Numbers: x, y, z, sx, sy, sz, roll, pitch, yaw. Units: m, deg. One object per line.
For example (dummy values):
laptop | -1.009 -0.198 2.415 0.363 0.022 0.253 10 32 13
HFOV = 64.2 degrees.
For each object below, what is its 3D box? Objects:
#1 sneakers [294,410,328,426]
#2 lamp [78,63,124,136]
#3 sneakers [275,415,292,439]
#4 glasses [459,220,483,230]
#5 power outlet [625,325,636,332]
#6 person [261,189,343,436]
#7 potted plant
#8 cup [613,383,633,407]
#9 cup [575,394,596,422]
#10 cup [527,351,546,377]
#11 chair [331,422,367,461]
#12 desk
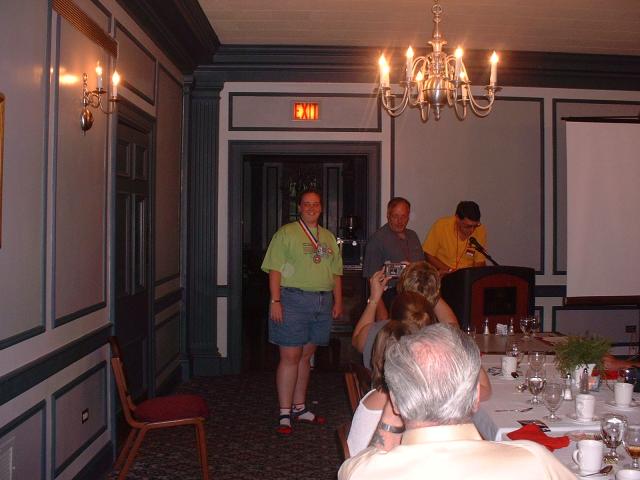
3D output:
sneakers | -0.077 1.563 4.520 0.292 0.145 0.120 1 0 0
lamp | -1.570 -1.018 3.638 0.247 0.536 0.564 0 2 -23
sneakers | -0.303 1.577 4.410 0.124 0.137 0.251 1 2 -3
glasses | 1.449 -0.146 4.950 0.177 0.093 0.147 1 2 14
power outlet | 3.867 1.110 6.344 0.093 0.075 0.091 1 21 8
person | -0.145 0.737 4.533 0.722 1.807 0.287 0 2 -28
potted plant | 1.523 0.691 3.004 0.266 0.320 0.290 0 1 4
cup | 1.582 0.811 2.658 0.081 0.113 0.112 -2 -5 10
cup | 1.299 0.827 2.497 0.075 0.122 0.130 -4 -8 18
cup | 1.232 0.707 2.893 0.099 0.153 0.115 1 -9 -4
chair | 0.151 1.029 2.518 0.127 0.180 0.260 -1 11 1
desk | 1.400 0.423 4.429 0.799 0.875 0.469 -1 0 -9
